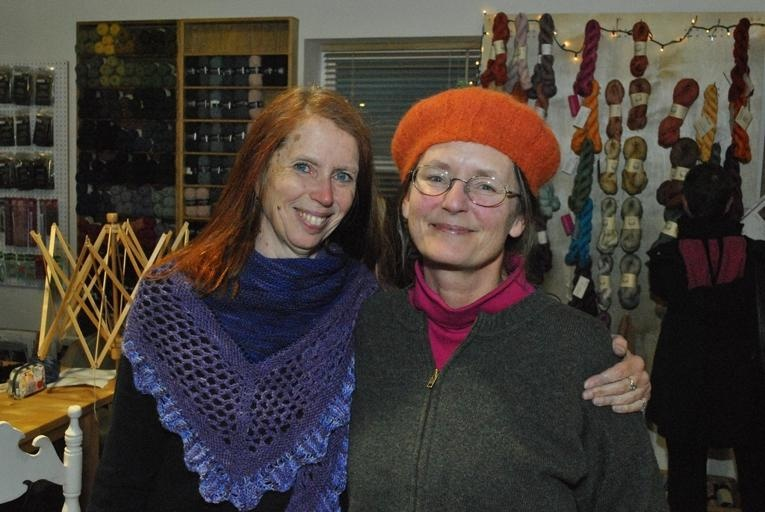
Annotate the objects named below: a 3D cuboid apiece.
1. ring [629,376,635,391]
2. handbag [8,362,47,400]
[{"bbox_3d":[0.882,0.455,2.545,0.024,0.044,0.014,-4,-1,26],"label":"ring"},{"bbox_3d":[-1.805,0.645,3.659,0.049,0.123,0.146,1,5,19],"label":"handbag"}]
